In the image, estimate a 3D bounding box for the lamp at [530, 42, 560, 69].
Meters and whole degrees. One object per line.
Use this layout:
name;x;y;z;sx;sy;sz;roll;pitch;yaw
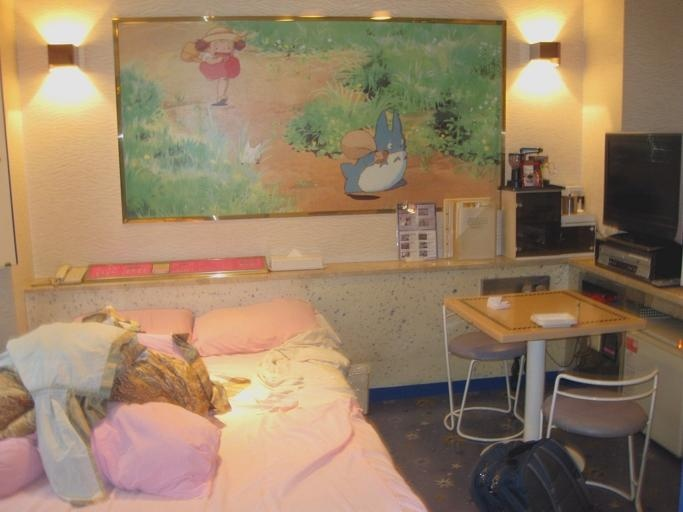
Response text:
lamp;1.671;-1.634;4.430;0.264;0.181;0.141;-5;11;-9

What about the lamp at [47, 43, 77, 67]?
lamp;-1.994;-1.437;3.914;0.198;0.156;0.104;-7;11;-22

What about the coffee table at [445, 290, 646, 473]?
coffee table;1.258;0.756;3.573;1.137;0.844;1.143;1;9;15
